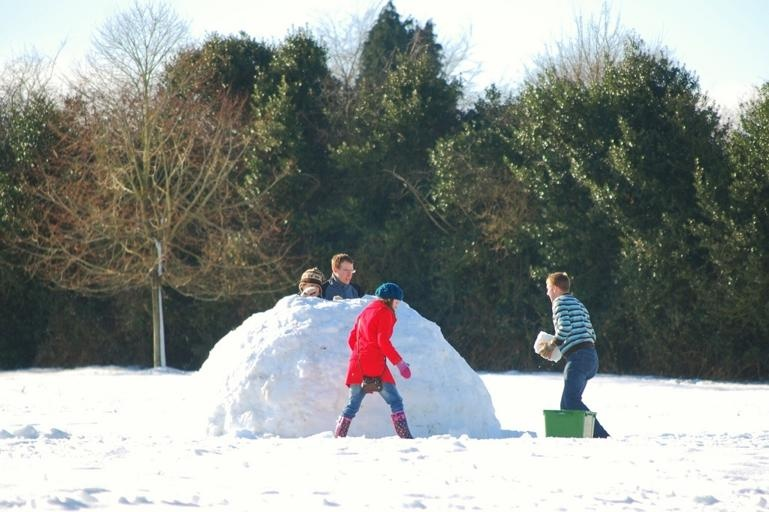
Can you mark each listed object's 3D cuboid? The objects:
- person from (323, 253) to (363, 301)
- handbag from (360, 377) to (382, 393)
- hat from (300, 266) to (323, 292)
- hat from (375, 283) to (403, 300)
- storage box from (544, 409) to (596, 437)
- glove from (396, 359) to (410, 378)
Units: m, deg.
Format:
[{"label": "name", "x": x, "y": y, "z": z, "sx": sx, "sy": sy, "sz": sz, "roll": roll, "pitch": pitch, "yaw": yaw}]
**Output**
[{"label": "person", "x": -0.997, "y": 0.502, "z": 30.265, "sx": 0.971, "sy": 1.205, "sz": 0.629, "roll": -3, "pitch": 15, "yaw": -36}, {"label": "handbag", "x": -0.272, "y": 2.671, "z": 28.523, "sx": 0.420, "sy": 0.308, "sz": 0.100, "roll": -1, "pitch": 9, "yaw": -4}, {"label": "hat", "x": -1.649, "y": 0.504, "z": 30.415, "sx": 0.384, "sy": 0.604, "sz": 0.552, "roll": 9, "pitch": -10, "yaw": -18}, {"label": "hat", "x": 0.054, "y": 0.728, "z": 28.676, "sx": 0.421, "sy": 0.356, "sz": 0.330, "roll": -4, "pitch": 4, "yaw": -12}, {"label": "storage box", "x": 3.801, "y": 3.567, "z": 28.765, "sx": 0.752, "sy": 0.462, "sz": 0.559, "roll": 1, "pitch": -9, "yaw": 9}, {"label": "glove", "x": 0.374, "y": 2.369, "z": 28.597, "sx": 0.209, "sy": 0.398, "sz": 0.097, "roll": -26, "pitch": 6, "yaw": -1}]
